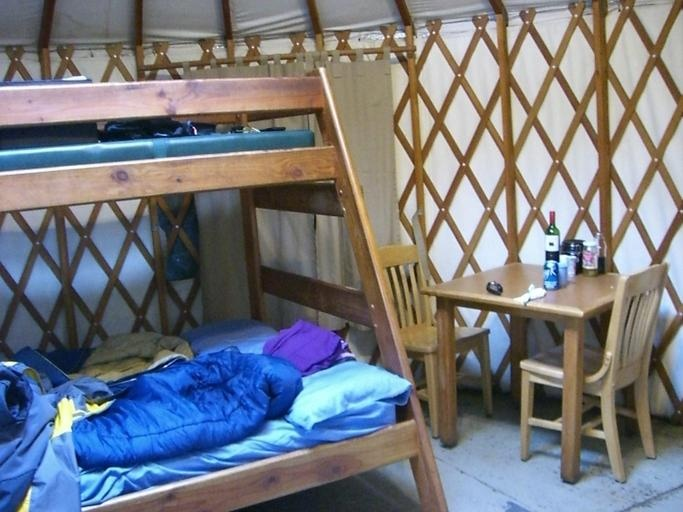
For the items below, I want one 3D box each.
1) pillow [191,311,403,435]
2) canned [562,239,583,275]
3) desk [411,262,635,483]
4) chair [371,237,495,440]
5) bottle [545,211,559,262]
[{"bbox_3d":[-0.215,0.516,2.975,0.450,0.155,0.882,-15,26,-36],"label":"pillow"},{"bbox_3d":[1.289,0.003,3.594,0.117,0.189,0.128,-6,15,-14],"label":"canned"},{"bbox_3d":[1.018,0.556,3.598,0.974,1.003,0.996,4,8,32],"label":"desk"},{"bbox_3d":[0.496,0.472,3.756,0.649,1.057,0.639,-7,3,-12],"label":"chair"},{"bbox_3d":[1.110,-0.094,3.382,0.090,0.289,0.094,-7,24,3],"label":"bottle"}]
